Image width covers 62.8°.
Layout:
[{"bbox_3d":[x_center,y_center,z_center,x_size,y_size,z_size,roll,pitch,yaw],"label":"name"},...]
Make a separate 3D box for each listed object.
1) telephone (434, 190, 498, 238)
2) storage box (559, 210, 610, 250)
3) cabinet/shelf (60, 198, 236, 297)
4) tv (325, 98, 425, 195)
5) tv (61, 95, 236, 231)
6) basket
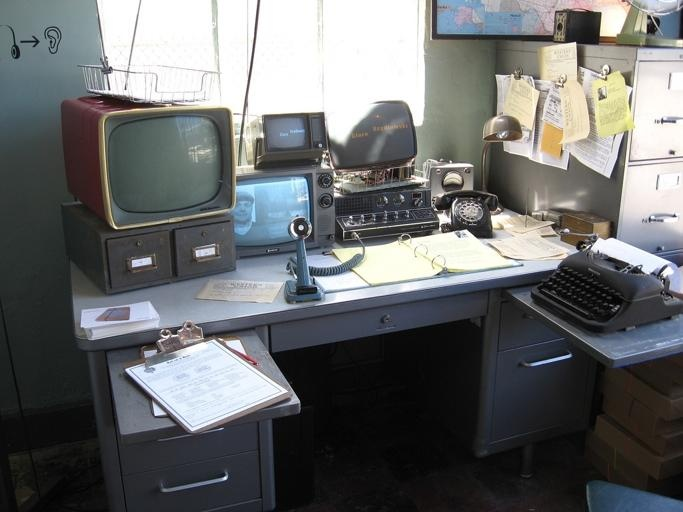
[{"bbox_3d":[0.560,-0.250,2.487,0.245,0.127,0.223,-2,27,-4],"label":"telephone"},{"bbox_3d":[1.014,-0.122,2.414,0.159,0.139,0.243,-6,16,-29],"label":"storage box"},{"bbox_3d":[-0.774,-0.068,2.233,0.537,0.234,0.562,18,23,37],"label":"cabinet/shelf"},{"bbox_3d":[0.133,-0.488,2.567,0.498,0.466,0.355,-10,18,-18],"label":"tv"},{"bbox_3d":[-0.732,-0.428,2.092,0.483,0.407,0.527,-11,22,-37],"label":"tv"},{"bbox_3d":[-0.809,-0.697,2.286,0.285,0.080,0.254,-17,33,-35],"label":"basket"}]
